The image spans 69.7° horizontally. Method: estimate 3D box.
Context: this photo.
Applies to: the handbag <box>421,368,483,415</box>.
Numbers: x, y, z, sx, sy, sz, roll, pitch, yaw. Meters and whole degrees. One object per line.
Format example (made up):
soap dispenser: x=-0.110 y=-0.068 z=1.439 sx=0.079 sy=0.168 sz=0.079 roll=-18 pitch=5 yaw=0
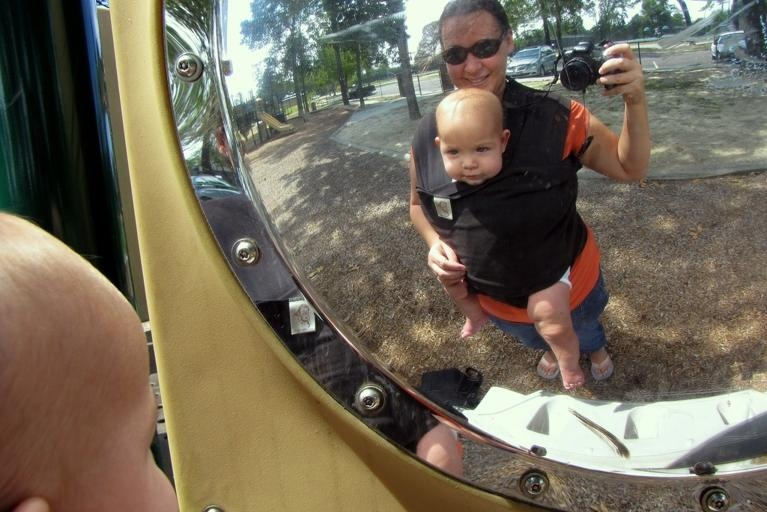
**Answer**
handbag: x=0.123 y=0.233 z=0.998 sx=0.095 sy=0.075 sz=0.023 roll=33 pitch=19 yaw=1
